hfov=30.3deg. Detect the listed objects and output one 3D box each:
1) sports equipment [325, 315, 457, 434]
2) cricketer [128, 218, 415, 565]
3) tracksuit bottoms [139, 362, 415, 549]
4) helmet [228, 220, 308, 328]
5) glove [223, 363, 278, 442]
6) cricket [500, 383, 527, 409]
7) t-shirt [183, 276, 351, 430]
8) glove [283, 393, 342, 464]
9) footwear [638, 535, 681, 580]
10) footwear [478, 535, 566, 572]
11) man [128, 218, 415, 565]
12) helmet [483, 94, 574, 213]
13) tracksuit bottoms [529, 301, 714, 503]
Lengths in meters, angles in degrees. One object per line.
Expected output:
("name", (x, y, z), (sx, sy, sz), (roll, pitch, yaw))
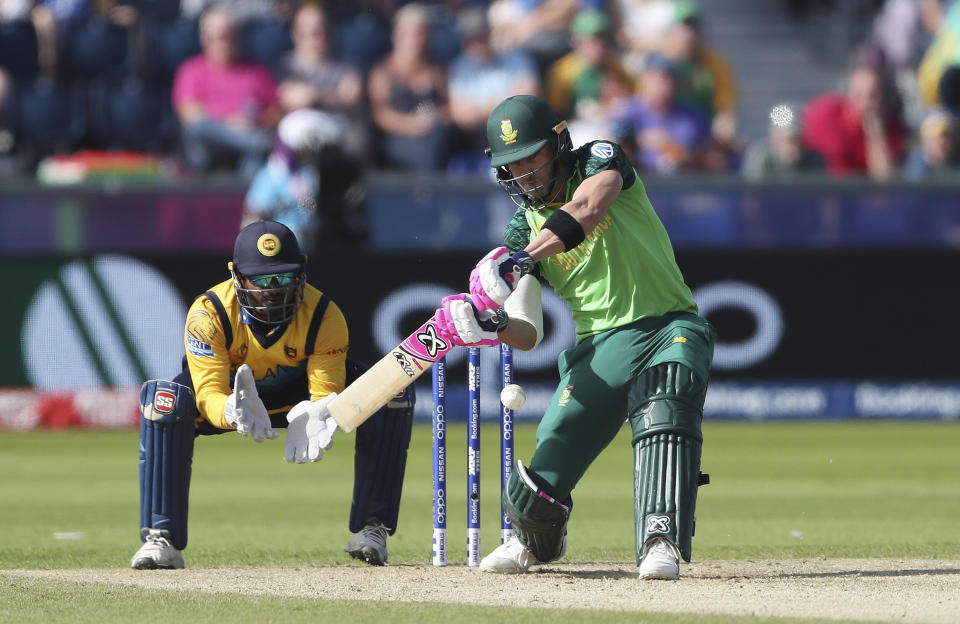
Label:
("sports equipment", (-0.576, 0.356, 10.754), (1.037, 0.245, 0.109), (-38, 4, 2))
("cricketer", (-1.194, 0.491, 10.216), (1.692, 1.838, 1.412), (-1, 7, -8))
("tracksuit bottoms", (-1.174, 0.833, 10.108), (1.557, 0.871, 0.289), (-3, -12, 0))
("helmet", (-1.220, -0.226, 10.016), (0.484, 0.560, 0.556), (-4, 19, -15))
("glove", (-1.298, 0.504, 9.843), (0.120, 0.402, 0.303), (-10, 11, 31))
("cricket", (0.181, 0.468, 9.897), (0.143, 0.086, 0.138), (14, -30, -24))
("t-shirt", (-1.242, 0.212, 10.053), (0.763, 0.563, 0.952), (-3, 40, -4))
("glove", (-0.941, 0.666, 9.979), (0.376, 0.348, 0.103), (-15, -26, 33))
("footwear", (0.982, 1.341, 9.708), (0.237, 0.212, 0.126), (3, 14, 15))
("footwear", (0.260, 1.368, 10.159), (0.546, 0.218, 0.187), (-1, 4, -18))
("man", (-1.180, 0.505, 10.203), (1.690, 1.799, 1.427), (-1, 5, -1))
("helmet", (0.263, -0.906, 9.953), (0.476, 0.618, 0.237), (0, 11, 5))
("tracksuit bottoms", (0.831, 0.549, 10.279), (1.239, 1.130, 0.447), (11, -14, 24))
